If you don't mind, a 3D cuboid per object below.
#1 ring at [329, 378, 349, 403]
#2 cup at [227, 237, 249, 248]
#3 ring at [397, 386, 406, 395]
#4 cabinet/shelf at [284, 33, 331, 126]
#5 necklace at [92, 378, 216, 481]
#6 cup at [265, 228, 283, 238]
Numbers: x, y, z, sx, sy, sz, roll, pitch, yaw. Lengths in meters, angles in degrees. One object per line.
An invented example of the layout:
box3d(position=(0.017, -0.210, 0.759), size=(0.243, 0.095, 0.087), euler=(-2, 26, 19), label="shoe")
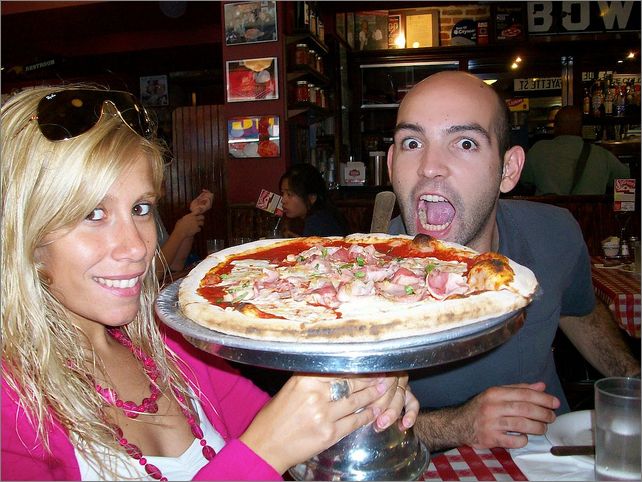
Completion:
box3d(position=(0.044, 0.368, 1.221), size=(0.040, 0.054, 0.016), euler=(11, -16, -8), label="ring")
box3d(position=(-0.700, 0.009, 4.143), size=(0.149, 0.146, 0.129), euler=(2, -2, -44), label="cup")
box3d(position=(0.226, 0.429, 1.420), size=(0.022, 0.009, 0.017), euler=(39, -19, -31), label="ring")
box3d(position=(-0.188, -1.890, 5.782), size=(0.240, 0.759, 1.254), euler=(-1, 16, 4), label="cabinet/shelf")
box3d(position=(-0.462, 0.501, 1.407), size=(0.345, 0.041, 0.210), euler=(45, 30, 15), label="necklace")
box3d(position=(-0.479, -0.074, 5.029), size=(0.151, 0.111, 0.153), euler=(1, 7, 0), label="cup")
